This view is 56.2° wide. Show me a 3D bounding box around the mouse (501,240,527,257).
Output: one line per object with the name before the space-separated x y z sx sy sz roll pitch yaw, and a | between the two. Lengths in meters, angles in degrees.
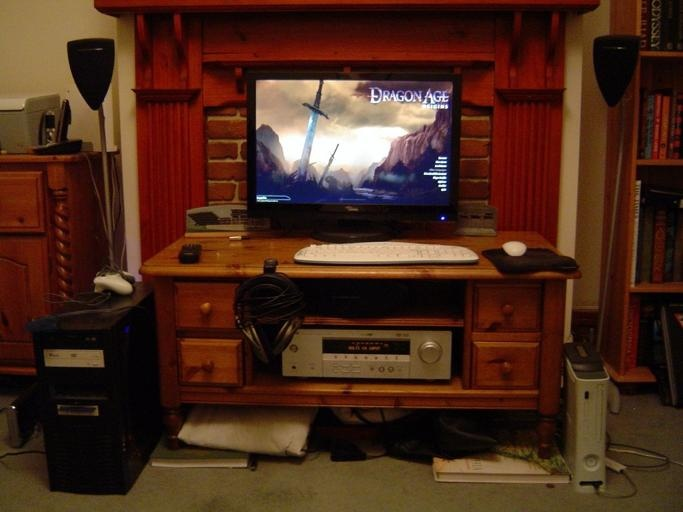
mouse | 0.632 -0.030 2.347 0.066 0.024 0.060 1 51 6

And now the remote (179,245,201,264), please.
remote | -0.553 -0.008 2.337 0.055 0.034 0.090 0 21 -5

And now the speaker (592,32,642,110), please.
speaker | 1.099 -0.746 2.575 0.166 0.275 0.081 2 12 17

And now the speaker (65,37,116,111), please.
speaker | -0.994 -0.728 2.559 0.154 0.273 0.108 5 14 32

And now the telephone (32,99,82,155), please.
telephone | -1.249 -0.573 2.828 0.257 0.216 0.232 -1 12 -8

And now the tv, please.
tv | 0.050 -0.422 2.576 0.763 0.523 0.239 0 6 0

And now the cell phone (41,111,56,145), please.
cell phone | -1.274 -0.550 2.798 0.055 0.026 0.123 -20 -22 -34
